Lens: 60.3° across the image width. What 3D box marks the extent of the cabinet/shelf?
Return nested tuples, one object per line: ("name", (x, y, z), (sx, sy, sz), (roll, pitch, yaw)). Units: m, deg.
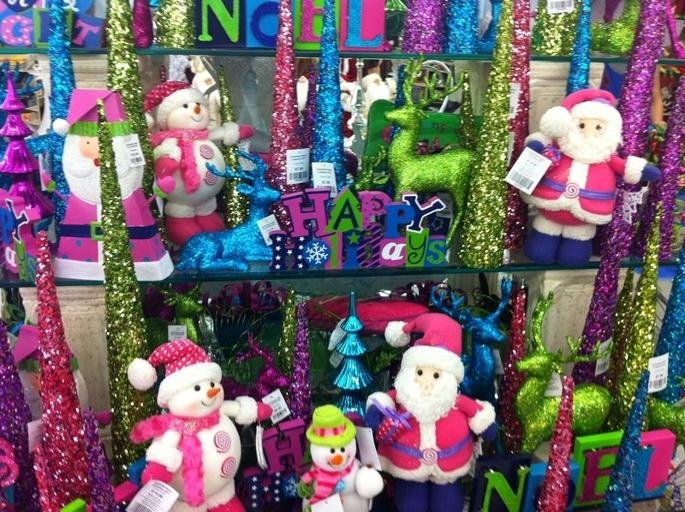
("cabinet/shelf", (0.007, 0.011, 1.563), (1.338, 1.292, 0.443), (-2, 24, -7))
